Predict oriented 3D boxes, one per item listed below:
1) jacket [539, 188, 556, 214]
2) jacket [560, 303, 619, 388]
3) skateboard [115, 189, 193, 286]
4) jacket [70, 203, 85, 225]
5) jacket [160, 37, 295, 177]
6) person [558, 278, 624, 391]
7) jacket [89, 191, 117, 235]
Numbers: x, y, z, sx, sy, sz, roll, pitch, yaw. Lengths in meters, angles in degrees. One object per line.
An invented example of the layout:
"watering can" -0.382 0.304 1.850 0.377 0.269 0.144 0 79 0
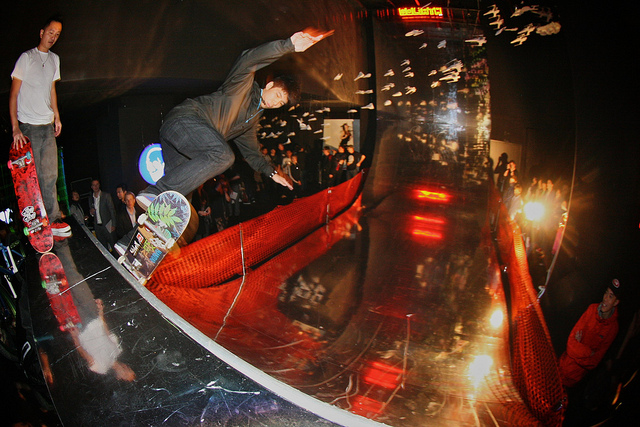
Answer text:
"jacket" 2.112 -0.115 3.464 0.047 0.196 0.137 25 -8 -41
"jacket" 2.411 1.203 3.385 0.454 0.711 0.246 -11 21 -20
"skateboard" -2.009 0.428 4.364 0.479 1.520 0.226 36 16 0
"jacket" -3.621 0.005 5.527 0.162 0.315 0.081 -16 23 -30
"jacket" -1.142 -1.338 4.387 1.064 1.377 0.612 -36 60 -12
"person" 2.455 1.084 3.376 0.517 0.966 0.225 -8 20 -11
"jacket" -3.305 0.045 5.621 0.394 0.732 0.235 1 24 -13
